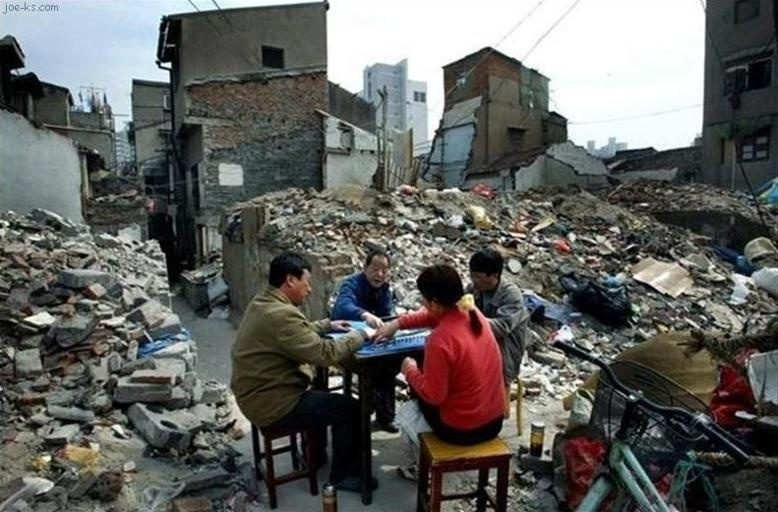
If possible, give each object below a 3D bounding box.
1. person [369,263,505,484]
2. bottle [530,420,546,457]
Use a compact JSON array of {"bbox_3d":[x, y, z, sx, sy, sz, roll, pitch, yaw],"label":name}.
[{"bbox_3d":[0.684,1.232,6.369,1.169,2.264,0.474,-1,3,8],"label":"person"},{"bbox_3d":[1.896,2.380,7.304,0.170,0.455,0.245,1,4,36],"label":"bottle"}]
